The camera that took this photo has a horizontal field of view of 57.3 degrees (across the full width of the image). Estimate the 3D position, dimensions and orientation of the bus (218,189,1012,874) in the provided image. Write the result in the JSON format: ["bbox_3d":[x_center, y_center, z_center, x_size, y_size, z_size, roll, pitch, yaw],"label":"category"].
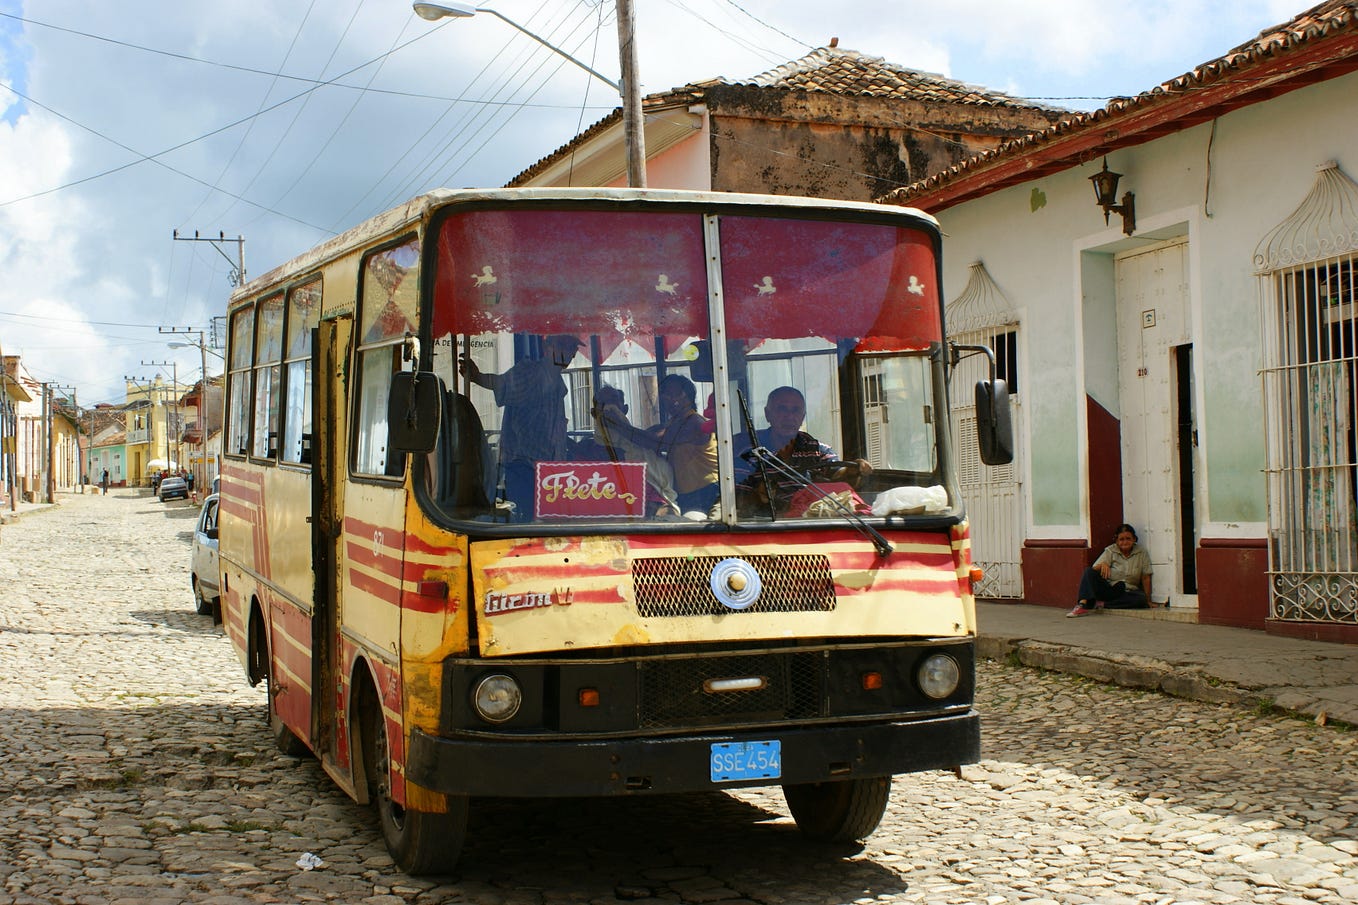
[{"bbox_3d":[-1.521,0.484,10.913,3.815,4.272,8.063,0,-1,-29],"label":"bus"}]

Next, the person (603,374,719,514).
[{"bbox_3d":[-0.108,-0.043,7.711,0.751,0.938,0.385,-8,18,-28],"label":"person"}]

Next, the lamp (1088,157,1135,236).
[{"bbox_3d":[5.317,-3.154,15.259,0.286,0.975,0.554,-3,6,-29],"label":"lamp"}]

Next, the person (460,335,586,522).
[{"bbox_3d":[-0.960,-0.106,7.511,0.490,1.229,0.883,-10,-11,26],"label":"person"}]

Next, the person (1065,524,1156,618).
[{"bbox_3d":[5.380,1.417,15.377,0.842,1.046,0.659,1,5,21],"label":"person"}]

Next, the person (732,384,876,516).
[{"bbox_3d":[0.707,-0.007,7.542,0.637,0.476,0.888,2,1,1],"label":"person"}]

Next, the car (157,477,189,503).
[{"bbox_3d":[-31.207,2.166,77.278,1.327,1.079,3.165,-3,5,-18],"label":"car"}]
